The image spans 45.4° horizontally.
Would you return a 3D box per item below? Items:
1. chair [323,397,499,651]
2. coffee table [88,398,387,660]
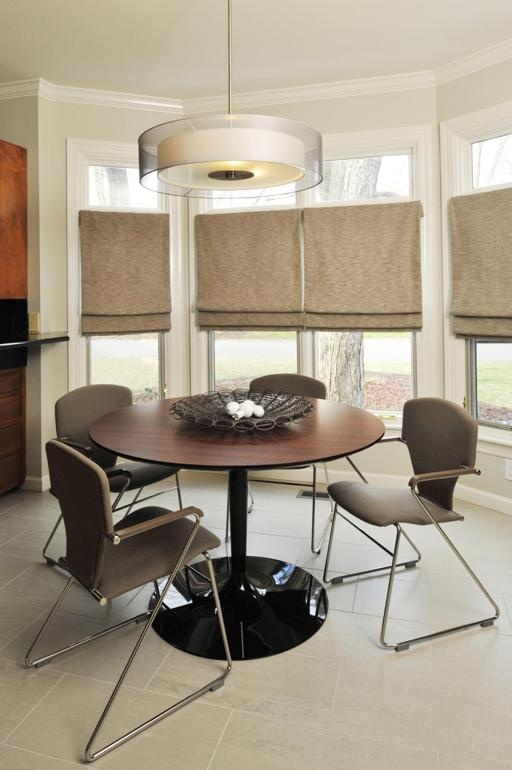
[{"bbox_3d":[0.602,0.506,2.506,0.523,0.849,0.617,-4,8,-14],"label":"chair"},{"bbox_3d":[-0.060,0.512,2.408,1.103,0.772,1.102,7,16,12],"label":"coffee table"}]
